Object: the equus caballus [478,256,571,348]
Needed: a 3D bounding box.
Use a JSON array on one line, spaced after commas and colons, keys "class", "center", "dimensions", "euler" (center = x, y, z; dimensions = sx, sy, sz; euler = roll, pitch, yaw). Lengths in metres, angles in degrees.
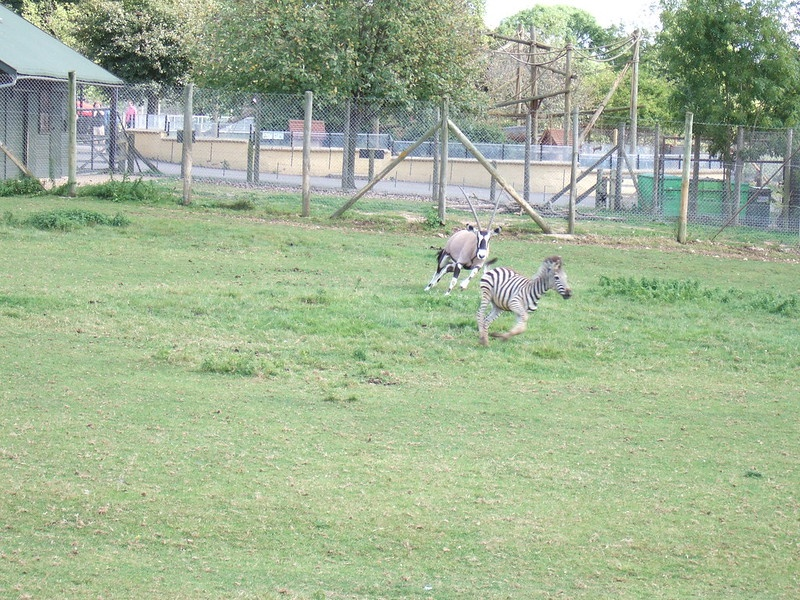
[{"class": "equus caballus", "center": [2.013, 0.020, 28.212], "dimensions": [0.644, 1.573, 2.247], "euler": [11, -5, -40]}]
